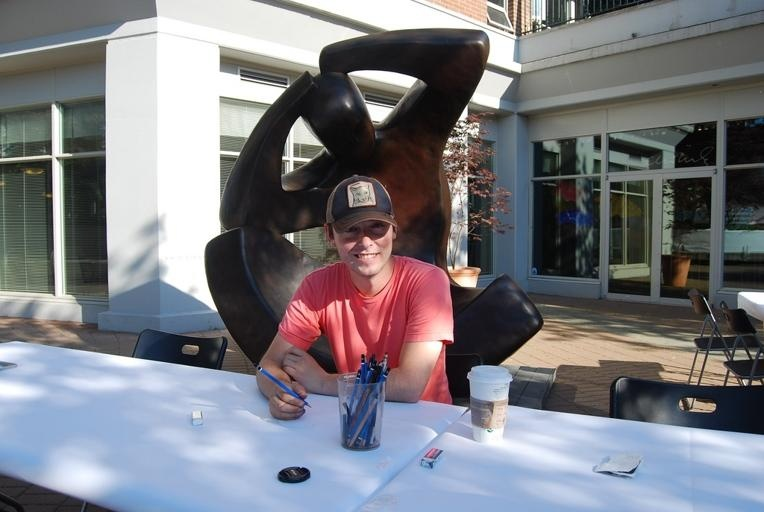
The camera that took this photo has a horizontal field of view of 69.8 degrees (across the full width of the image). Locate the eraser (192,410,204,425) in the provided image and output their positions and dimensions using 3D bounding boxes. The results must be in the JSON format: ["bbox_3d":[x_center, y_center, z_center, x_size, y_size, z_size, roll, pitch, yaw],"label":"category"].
[{"bbox_3d":[-0.718,0.626,2.134,0.031,0.017,0.069,-1,10,-5],"label":"eraser"}]

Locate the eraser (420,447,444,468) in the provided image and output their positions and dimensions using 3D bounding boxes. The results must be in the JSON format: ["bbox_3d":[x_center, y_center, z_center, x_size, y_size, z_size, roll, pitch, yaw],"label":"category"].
[{"bbox_3d":[0.165,0.692,1.903,0.037,0.024,0.068,4,25,28],"label":"eraser"}]

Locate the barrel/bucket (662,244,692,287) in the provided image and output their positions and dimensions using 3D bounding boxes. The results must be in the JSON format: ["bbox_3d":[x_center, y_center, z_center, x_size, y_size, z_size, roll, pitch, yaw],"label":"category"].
[{"bbox_3d":[5.232,0.185,9.757,0.553,0.667,0.580,2,-6,0],"label":"barrel/bucket"}]

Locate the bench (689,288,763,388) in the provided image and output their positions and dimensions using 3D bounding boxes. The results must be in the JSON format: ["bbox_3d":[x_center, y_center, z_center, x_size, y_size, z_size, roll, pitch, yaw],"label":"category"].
[{"bbox_3d":[3.306,0.809,5.290,0.550,0.896,0.635,1,1,23],"label":"bench"}]

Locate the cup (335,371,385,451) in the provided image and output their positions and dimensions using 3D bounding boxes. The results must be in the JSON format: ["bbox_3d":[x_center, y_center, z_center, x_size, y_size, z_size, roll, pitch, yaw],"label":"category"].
[{"bbox_3d":[-0.079,0.570,2.045,0.167,0.246,0.188,4,-2,-4],"label":"cup"}]

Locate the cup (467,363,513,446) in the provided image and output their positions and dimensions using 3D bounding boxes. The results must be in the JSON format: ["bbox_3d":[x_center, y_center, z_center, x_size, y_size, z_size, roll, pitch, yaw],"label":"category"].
[{"bbox_3d":[0.395,0.543,2.146,0.226,0.322,0.228,0,5,0],"label":"cup"}]

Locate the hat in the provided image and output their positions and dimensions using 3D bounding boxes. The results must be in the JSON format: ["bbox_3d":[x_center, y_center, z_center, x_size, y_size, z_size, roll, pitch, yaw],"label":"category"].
[{"bbox_3d":[-0.095,-0.242,2.470,0.300,0.228,0.147,-1,12,-8],"label":"hat"}]
